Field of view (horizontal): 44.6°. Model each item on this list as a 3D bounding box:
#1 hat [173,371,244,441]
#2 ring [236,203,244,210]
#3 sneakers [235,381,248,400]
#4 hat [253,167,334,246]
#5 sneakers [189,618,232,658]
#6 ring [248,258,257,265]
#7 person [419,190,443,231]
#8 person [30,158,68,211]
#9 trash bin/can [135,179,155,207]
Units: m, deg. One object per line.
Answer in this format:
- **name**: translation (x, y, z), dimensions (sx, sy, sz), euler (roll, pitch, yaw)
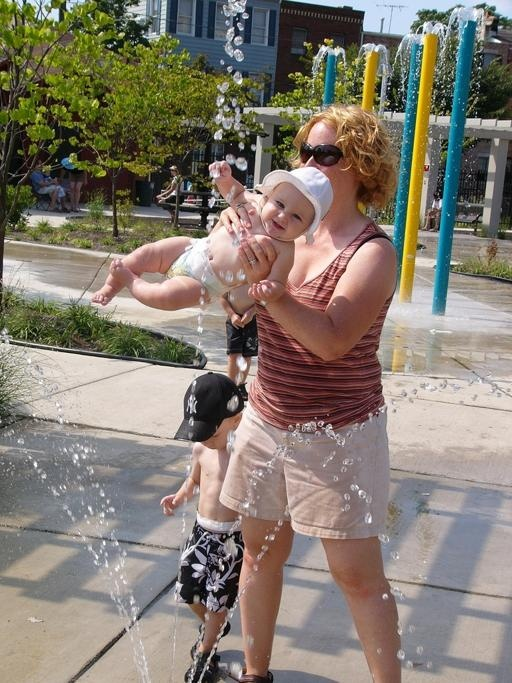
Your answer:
- **hat**: translation (-0.148, 0.201, 2.049), dimensions (0.178, 0.139, 0.262), euler (9, 34, 26)
- **ring**: translation (-0.038, -0.331, 1.546), dimensions (0.016, 0.021, 0.027), euler (-2, 12, -32)
- **sneakers**: translation (-0.100, 0.422, 5.198), dimensions (0.110, 0.131, 0.332), euler (1, -4, -2)
- **hat**: translation (0.094, -0.302, 1.395), dimensions (0.128, 0.167, 0.090), euler (21, 44, 22)
- **sneakers**: translation (-0.150, 0.985, 2.066), dimensions (0.062, 0.166, 0.073), euler (15, -34, 4)
- **ring**: translation (-0.007, -0.164, 1.290), dimensions (0.016, 0.008, 0.016), euler (0, -3, 0)
- **person**: translation (7.552, -5.434, 26.735), dimensions (0.639, 1.407, 2.001), euler (8, 11, 13)
- **person**: translation (-7.519, -5.487, 22.745), dimensions (1.216, 1.438, 2.073), euler (3, 11, -11)
- **trash bin/can**: translation (-5.526, -7.041, 29.593), dimensions (1.252, 1.176, 1.120), euler (0, 17, 3)
